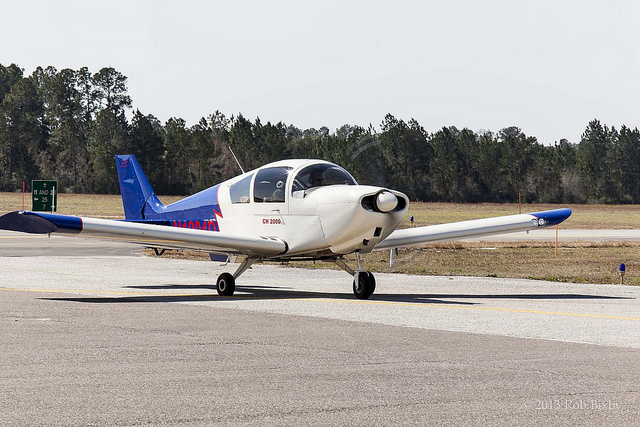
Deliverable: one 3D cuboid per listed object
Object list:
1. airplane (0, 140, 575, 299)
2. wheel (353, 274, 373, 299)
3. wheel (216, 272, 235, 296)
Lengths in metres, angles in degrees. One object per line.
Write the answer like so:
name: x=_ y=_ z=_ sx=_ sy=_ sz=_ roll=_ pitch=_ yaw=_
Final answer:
airplane: x=-2.423 y=0.037 z=28.367 sx=12.672 sy=2.810 sz=24.211 roll=2 pitch=1 yaw=-9
wheel: x=0.993 y=1.631 z=18.154 sx=0.305 sy=0.595 sz=0.535 roll=-8 pitch=0 yaw=-35
wheel: x=-2.224 y=1.686 z=19.011 sx=0.188 sy=0.456 sz=0.466 roll=-4 pitch=10 yaw=-41
